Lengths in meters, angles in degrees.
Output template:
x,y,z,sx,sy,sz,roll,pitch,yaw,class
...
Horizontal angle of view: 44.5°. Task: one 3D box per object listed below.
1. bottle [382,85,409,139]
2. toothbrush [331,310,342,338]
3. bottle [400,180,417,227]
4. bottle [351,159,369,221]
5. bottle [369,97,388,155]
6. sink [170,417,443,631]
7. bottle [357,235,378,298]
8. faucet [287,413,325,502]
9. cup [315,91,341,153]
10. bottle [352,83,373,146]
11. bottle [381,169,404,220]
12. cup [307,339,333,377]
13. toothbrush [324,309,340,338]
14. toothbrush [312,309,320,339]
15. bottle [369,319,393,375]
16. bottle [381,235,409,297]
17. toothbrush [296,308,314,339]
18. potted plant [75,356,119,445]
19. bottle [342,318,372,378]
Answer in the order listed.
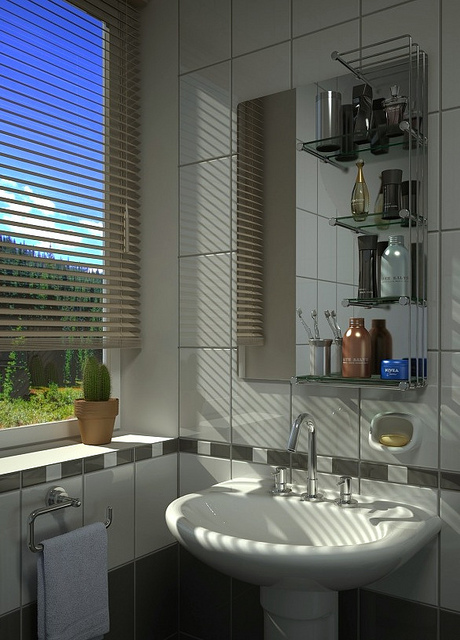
x,y,z,sx,sy,sz,roll,pitch,yaw,class
0.414,-0.523,1.407,0.068,0.121,0.018,3,2,39,bottle
0.288,0.013,1.543,0.017,0.075,0.014,-16,1,-37,toothbrush
0.442,-0.288,1.395,0.042,0.115,0.035,-1,2,22,bottle
0.342,-0.340,1.487,0.050,0.160,0.010,0,3,43,bottle
0.384,-0.500,1.445,0.039,0.127,0.029,-11,18,-33,bottle
0.129,0.416,1.360,0.610,0.298,0.511,0,3,43,sink
0.357,-0.139,1.468,0.018,0.163,0.057,-4,3,-42,bottle
0.197,0.347,1.444,0.080,0.235,0.365,-2,2,9,faucet
0.272,-0.545,1.568,0.082,0.151,0.084,-3,11,1,cup
0.349,-0.556,1.489,0.060,0.176,0.058,3,-12,1,bottle
0.410,-0.316,1.426,0.058,0.129,0.018,0,3,42,bottle
0.246,0.107,1.534,0.082,0.114,0.088,0,-4,0,cup
0.276,0.012,1.541,0.014,0.093,0.018,-17,-10,-2,toothbrush
0.240,0.013,1.576,0.007,0.077,0.026,-3,2,-21,toothbrush
0.371,0.071,1.411,0.062,0.138,0.079,-1,2,30,bottle
0.412,-0.132,1.404,0.067,0.149,0.038,-1,2,29,bottle
0.212,0.013,1.608,0.021,0.120,0.012,-17,-13,-36,toothbrush
-0.414,0.253,1.775,0.122,0.239,0.127,-1,-4,-7,potted plant
0.328,0.072,1.454,0.076,0.147,0.060,-1,2,25,bottle
